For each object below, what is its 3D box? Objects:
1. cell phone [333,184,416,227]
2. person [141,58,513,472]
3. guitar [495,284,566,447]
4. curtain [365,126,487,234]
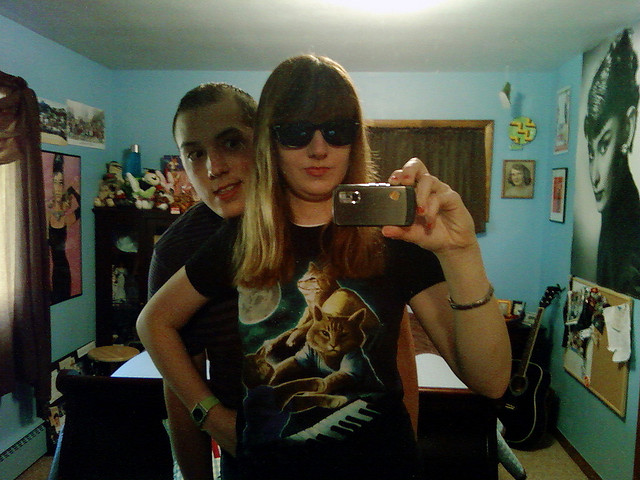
[{"bbox_3d":[0.179,-0.111,1.694,0.265,0.140,0.029,-1,7,3],"label":"cell phone"},{"bbox_3d":[0.006,0.128,1.889,1.303,1.537,0.271,1,8,15],"label":"person"},{"bbox_3d":[1.302,0.797,3.236,0.312,1.036,0.417,2,8,25],"label":"guitar"},{"bbox_3d":[0.598,-0.413,2.907,0.042,0.506,0.855,-26,25,-31],"label":"curtain"}]
